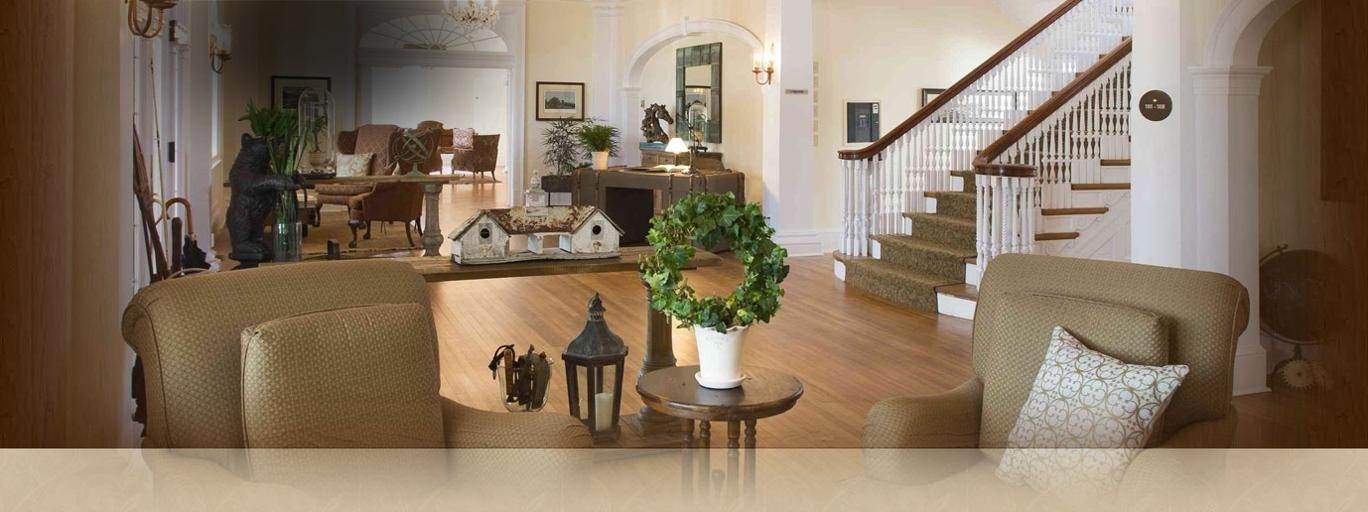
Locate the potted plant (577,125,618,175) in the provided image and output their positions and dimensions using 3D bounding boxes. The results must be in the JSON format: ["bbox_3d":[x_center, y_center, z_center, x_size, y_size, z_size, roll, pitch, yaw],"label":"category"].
[{"bbox_3d":[-1.663,-2.120,15.539,1.188,0.916,1.043,0,2,-8],"label":"potted plant"}]

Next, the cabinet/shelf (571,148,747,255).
[{"bbox_3d":[-0.217,-0.621,14.718,1.924,1.372,3.219,-5,9,-41],"label":"cabinet/shelf"}]

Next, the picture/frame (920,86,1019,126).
[{"bbox_3d":[4.757,-2.422,12.956,1.642,0.548,0.173,-4,13,-14],"label":"picture/frame"}]

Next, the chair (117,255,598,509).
[{"bbox_3d":[-3.386,0.846,7.636,2.453,2.410,2.654,-1,-2,-32],"label":"chair"}]

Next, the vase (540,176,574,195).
[{"bbox_3d":[-2.358,-1.359,15.088,0.624,0.326,0.399,-1,12,-1],"label":"vase"}]

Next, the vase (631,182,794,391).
[{"bbox_3d":[0.271,0.298,6.953,1.199,1.653,0.506,-3,13,-4],"label":"vase"}]

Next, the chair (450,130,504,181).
[{"bbox_3d":[-5.104,-2.468,20.013,0.880,1.131,1.178,-10,15,-33],"label":"chair"}]

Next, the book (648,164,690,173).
[{"bbox_3d":[-0.199,-1.532,14.276,0.483,0.083,0.822,-8,14,-32],"label":"book"}]

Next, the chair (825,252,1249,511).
[{"bbox_3d":[3.118,0.834,7.246,2.562,2.113,2.925,0,1,-39],"label":"chair"}]

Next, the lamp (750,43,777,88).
[{"bbox_3d":[1.376,-3.339,14.010,0.269,0.729,0.474,-7,13,-22],"label":"lamp"}]
